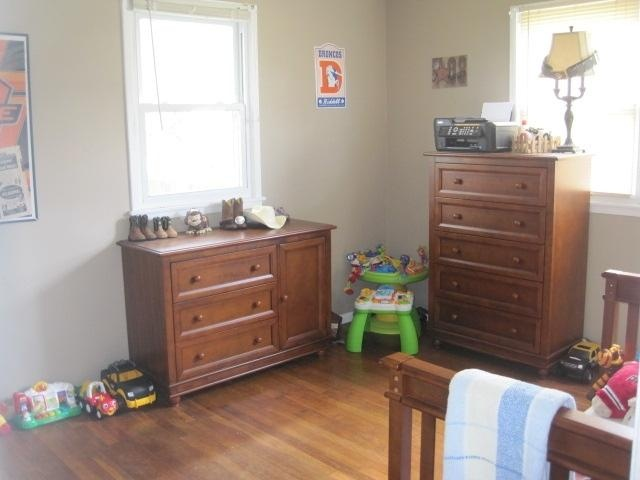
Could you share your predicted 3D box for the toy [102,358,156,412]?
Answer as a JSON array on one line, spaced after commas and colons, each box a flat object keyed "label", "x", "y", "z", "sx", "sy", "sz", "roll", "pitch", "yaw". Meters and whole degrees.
[{"label": "toy", "x": -1.238, "y": 0.912, "z": 3.214, "sx": 0.208, "sy": 0.222, "sz": 0.357, "roll": -10, "pitch": 14, "yaw": -44}]

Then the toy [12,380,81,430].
[{"label": "toy", "x": -1.684, "y": 0.992, "z": 3.035, "sx": 0.376, "sy": 0.196, "sz": 0.229, "roll": -8, "pitch": 15, "yaw": -28}]

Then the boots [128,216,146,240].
[{"label": "boots", "x": -1.178, "y": -0.073, "z": 3.269, "sx": 0.094, "sy": 0.177, "sz": 0.172, "roll": 1, "pitch": 2, "yaw": -39}]

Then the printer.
[{"label": "printer", "x": 1.115, "y": -0.759, "z": 3.580, "sx": 0.584, "sy": 0.241, "sz": 0.233, "roll": 5, "pitch": 14, "yaw": 22}]

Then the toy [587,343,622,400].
[{"label": "toy", "x": 1.562, "y": 0.729, "z": 2.718, "sx": 0.083, "sy": 0.365, "sz": 0.218, "roll": 22, "pitch": -8, "yaw": 10}]

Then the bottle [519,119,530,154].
[{"label": "bottle", "x": 1.443, "y": -0.734, "z": 3.494, "sx": 0.079, "sy": 0.219, "sz": 0.256, "roll": 5, "pitch": 14, "yaw": 23}]

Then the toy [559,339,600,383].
[{"label": "toy", "x": 1.802, "y": 0.833, "z": 3.422, "sx": 0.166, "sy": 0.181, "sz": 0.351, "roll": 4, "pitch": 6, "yaw": 39}]

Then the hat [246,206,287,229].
[{"label": "hat", "x": -0.406, "y": -0.177, "z": 3.642, "sx": 0.209, "sy": 0.090, "sz": 0.189, "roll": 28, "pitch": 25, "yaw": 32}]

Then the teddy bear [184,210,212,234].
[{"label": "teddy bear", "x": -0.868, "y": -0.122, "z": 3.499, "sx": 0.137, "sy": 0.138, "sz": 0.179, "roll": -1, "pitch": 3, "yaw": 2}]

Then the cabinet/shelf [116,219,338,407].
[{"label": "cabinet/shelf", "x": -0.609, "y": 0.414, "z": 3.624, "sx": 1.287, "sy": 1.038, "sz": 0.690, "roll": -11, "pitch": 18, "yaw": -36}]

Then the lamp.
[{"label": "lamp", "x": 1.733, "y": -1.064, "z": 3.471, "sx": 0.347, "sy": 0.857, "sz": 0.427, "roll": 7, "pitch": 14, "yaw": 32}]

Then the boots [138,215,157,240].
[{"label": "boots", "x": -1.159, "y": -0.084, "z": 3.294, "sx": 0.080, "sy": 0.161, "sz": 0.190, "roll": -7, "pitch": 18, "yaw": -44}]

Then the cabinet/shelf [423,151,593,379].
[{"label": "cabinet/shelf", "x": 1.385, "y": 0.068, "z": 3.721, "sx": 0.712, "sy": 1.425, "sz": 1.007, "roll": -12, "pitch": 16, "yaw": -38}]

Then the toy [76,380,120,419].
[{"label": "toy", "x": -1.395, "y": 0.981, "z": 3.090, "sx": 0.304, "sy": 0.179, "sz": 0.115, "roll": 10, "pitch": 11, "yaw": 37}]

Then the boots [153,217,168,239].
[{"label": "boots", "x": -1.080, "y": -0.077, "z": 3.324, "sx": 0.065, "sy": 0.135, "sz": 0.186, "roll": -7, "pitch": 18, "yaw": -35}]
